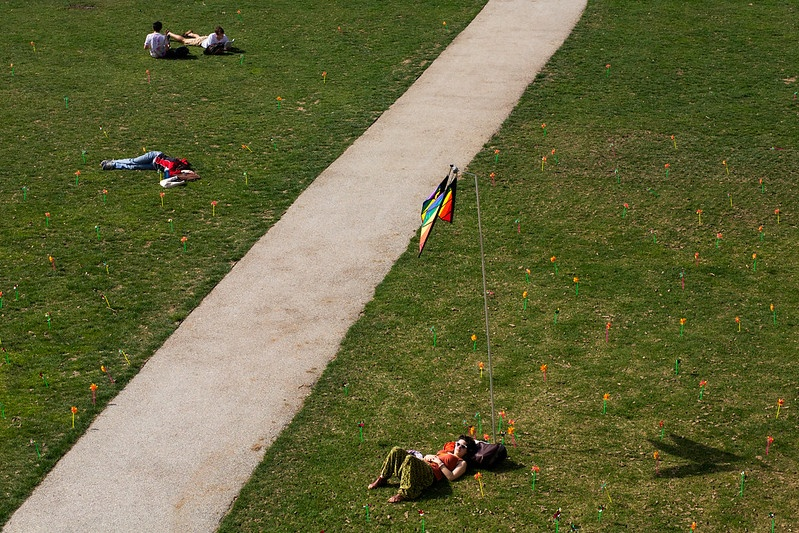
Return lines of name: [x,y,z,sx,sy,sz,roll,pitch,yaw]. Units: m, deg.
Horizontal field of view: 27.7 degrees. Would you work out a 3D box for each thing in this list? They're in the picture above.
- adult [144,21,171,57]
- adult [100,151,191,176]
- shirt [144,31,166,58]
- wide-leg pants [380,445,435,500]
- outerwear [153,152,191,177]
adult: [-10.159,-9.684,68.675,1.265,1.676,1.462,-1,40,-7]
adult: [-9.480,-3.893,61.576,2.792,0.756,1.301,-2,8,3]
shirt: [-10.219,-9.325,68.271,1.124,1.049,0.672,1,45,-6]
wide-leg pants: [0.392,6.467,51.635,1.890,1.022,1.952,23,15,40]
outerwear: [-8.590,-3.839,61.339,1.186,0.445,0.890,23,36,8]
